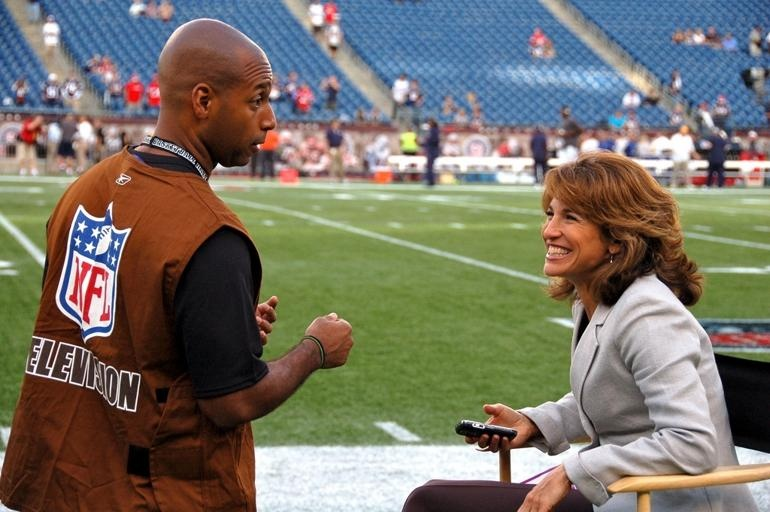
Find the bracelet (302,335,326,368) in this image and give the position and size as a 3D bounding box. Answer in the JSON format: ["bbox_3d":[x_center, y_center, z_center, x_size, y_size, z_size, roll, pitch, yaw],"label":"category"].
[{"bbox_3d":[-0.262,0.369,5.393,0.120,0.112,0.030,-10,3,40],"label":"bracelet"}]

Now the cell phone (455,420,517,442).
[{"bbox_3d":[0.420,0.734,5.799,0.184,0.042,0.108,7,-5,-21],"label":"cell phone"}]
